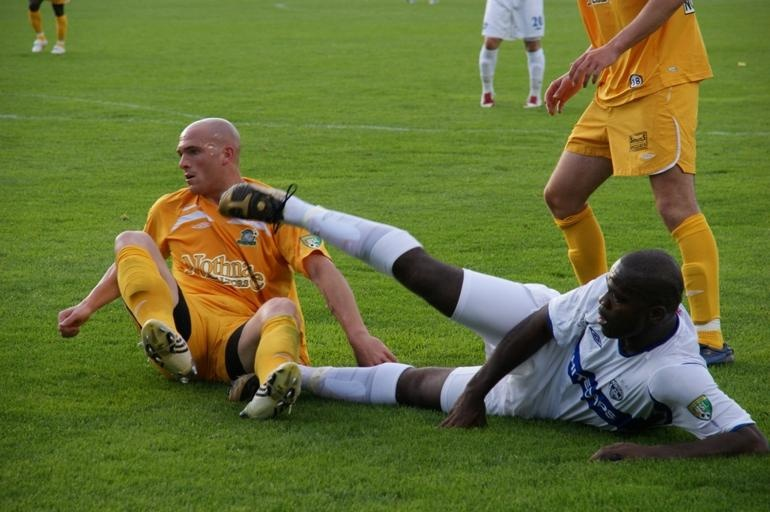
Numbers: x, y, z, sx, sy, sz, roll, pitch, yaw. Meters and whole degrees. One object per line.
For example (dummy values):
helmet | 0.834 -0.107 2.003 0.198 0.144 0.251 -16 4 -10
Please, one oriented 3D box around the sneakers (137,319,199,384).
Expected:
sneakers | -1.300 0.570 6.530 0.222 0.429 0.209 -30 22 11

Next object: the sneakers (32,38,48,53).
sneakers | -5.114 -3.129 15.888 0.145 0.154 0.366 12 38 -1
